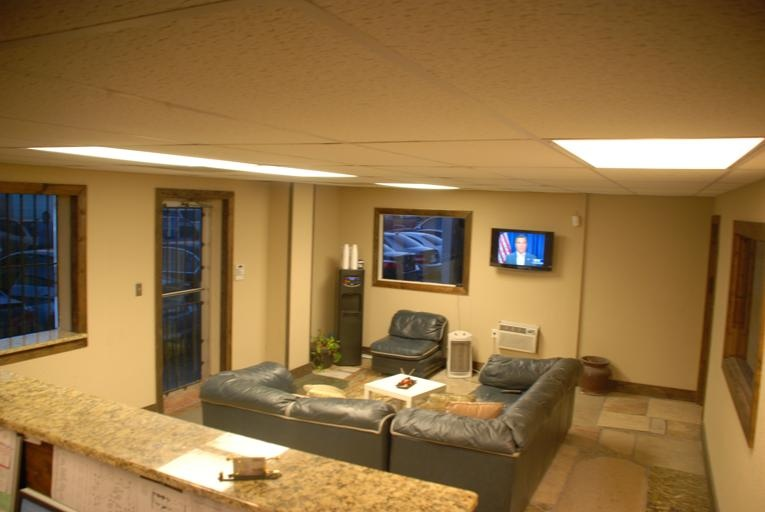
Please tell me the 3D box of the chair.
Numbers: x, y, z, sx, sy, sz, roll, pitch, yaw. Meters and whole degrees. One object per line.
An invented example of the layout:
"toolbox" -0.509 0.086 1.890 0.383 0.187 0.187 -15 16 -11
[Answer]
"chair" 0.411 1.295 7.847 1.170 0.818 1.069 1 1 26

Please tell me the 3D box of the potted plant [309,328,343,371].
"potted plant" -0.885 1.417 7.980 0.547 0.453 0.568 7 10 23

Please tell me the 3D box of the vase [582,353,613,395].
"vase" 2.854 1.602 7.030 0.416 0.501 0.281 -4 -6 17

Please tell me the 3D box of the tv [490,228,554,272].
"tv" 1.999 -0.049 7.439 0.721 0.397 0.307 3 -2 39
